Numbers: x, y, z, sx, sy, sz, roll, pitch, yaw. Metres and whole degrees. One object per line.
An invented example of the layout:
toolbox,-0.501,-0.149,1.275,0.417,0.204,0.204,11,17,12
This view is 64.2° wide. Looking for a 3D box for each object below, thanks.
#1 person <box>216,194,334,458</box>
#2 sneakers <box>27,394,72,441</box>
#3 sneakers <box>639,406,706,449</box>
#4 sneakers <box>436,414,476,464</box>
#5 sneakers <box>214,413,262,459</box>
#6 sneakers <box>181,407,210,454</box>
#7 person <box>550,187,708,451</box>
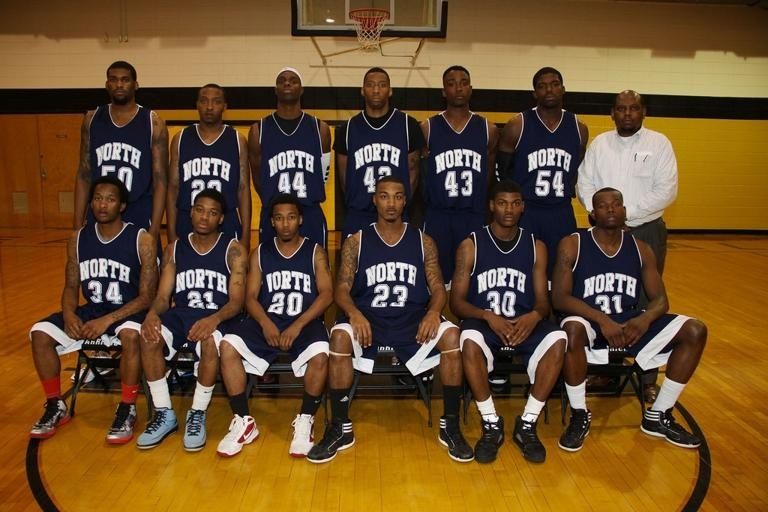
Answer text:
person,-0.840,0.679,4.853,0.885,1.552,0.899,-2,15,-5
sneakers,-2.671,1.276,4.878,0.170,0.257,0.283,3,15,16
sneakers,2.288,1.361,4.934,0.537,0.245,0.193,6,5,37
sneakers,0.534,1.412,4.684,0.155,0.255,0.432,-2,2,-22
sneakers,-1.119,1.379,4.733,0.164,0.190,0.392,5,15,19
sneakers,-1.449,1.351,4.713,0.127,0.147,0.370,1,12,-9
person,1.929,0.467,4.915,1.091,1.929,0.809,-1,15,1
